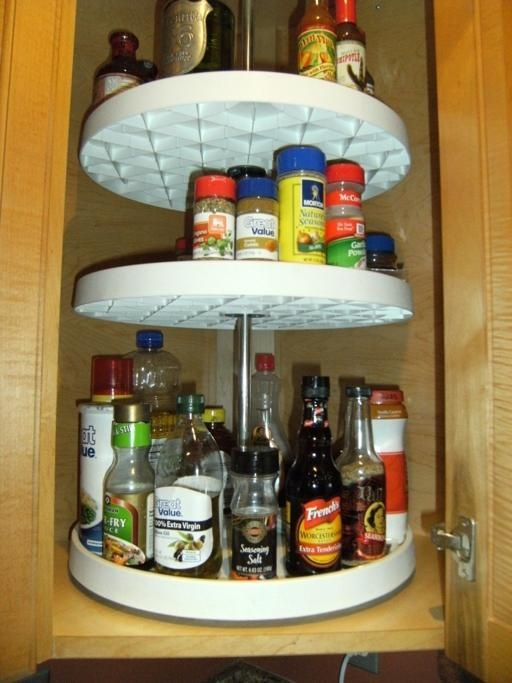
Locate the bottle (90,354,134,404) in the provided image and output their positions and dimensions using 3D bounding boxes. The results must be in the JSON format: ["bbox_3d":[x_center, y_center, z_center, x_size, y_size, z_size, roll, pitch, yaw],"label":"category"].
[{"bbox_3d":[-0.184,0.046,0.787,0.059,0.060,0.056,-2,4,-33],"label":"bottle"}]

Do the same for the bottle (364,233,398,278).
[{"bbox_3d":[0.174,-0.125,0.867,0.052,0.054,0.058,-1,2,-3],"label":"bottle"}]
